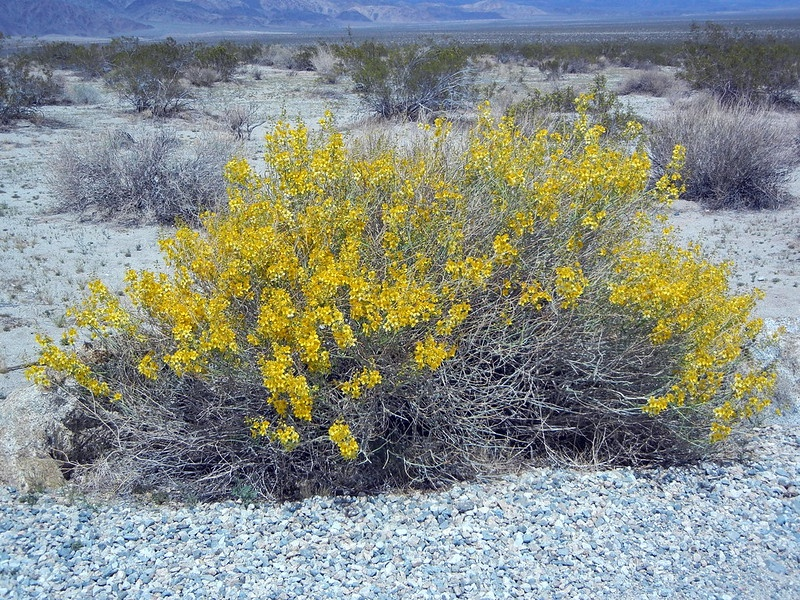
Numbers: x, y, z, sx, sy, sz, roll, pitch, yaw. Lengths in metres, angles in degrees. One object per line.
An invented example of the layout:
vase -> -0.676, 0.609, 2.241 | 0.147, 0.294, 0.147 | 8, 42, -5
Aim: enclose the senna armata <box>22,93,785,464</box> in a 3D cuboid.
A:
senna armata -> -0.221, -0.267, 5.431 | 3.600, 2.204, 3.940 | -3, 8, -40
